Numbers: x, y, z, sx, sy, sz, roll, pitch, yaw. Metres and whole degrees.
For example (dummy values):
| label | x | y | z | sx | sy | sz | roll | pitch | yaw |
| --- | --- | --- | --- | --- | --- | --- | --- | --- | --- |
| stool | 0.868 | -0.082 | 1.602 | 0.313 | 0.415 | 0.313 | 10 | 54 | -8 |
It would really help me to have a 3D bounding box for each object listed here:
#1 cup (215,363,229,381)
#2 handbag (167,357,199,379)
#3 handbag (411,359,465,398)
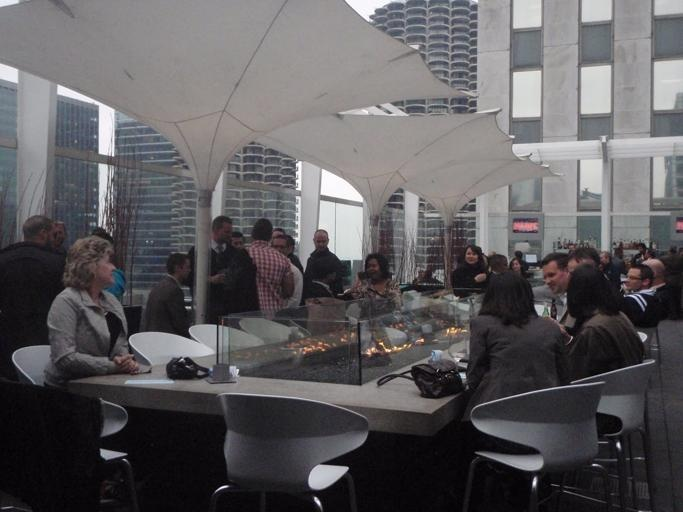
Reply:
| label | x | y | z | sx | sy | sz | roll | pitch | yaw |
| --- | --- | --- | --- | --- | --- | --- | --- | --- | --- |
| cup | -0.788 | 0.765 | 3.962 | 0.096 | 0.096 | 0.097 | 0 | 5 | 0 |
| handbag | -1.087 | 0.770 | 4.087 | 0.116 | 0.102 | 0.206 | 0 | -4 | 0 |
| handbag | 0.594 | 0.745 | 3.691 | 0.235 | 0.136 | 0.215 | -2 | -3 | 35 |
